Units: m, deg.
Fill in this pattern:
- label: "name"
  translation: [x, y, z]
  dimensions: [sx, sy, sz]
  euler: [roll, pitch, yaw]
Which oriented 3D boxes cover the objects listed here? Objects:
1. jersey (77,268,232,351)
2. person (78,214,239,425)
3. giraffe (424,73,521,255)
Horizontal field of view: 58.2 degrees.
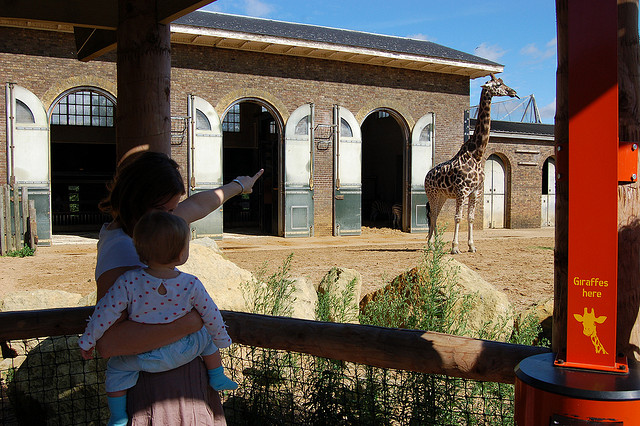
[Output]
- label: "jersey"
  translation: [-0.808, 0.485, 2.830]
  dimensions: [0.698, 0.407, 0.198]
  euler: [1, 15, -11]
- label: "person"
  translation: [-0.756, 0.502, 2.726]
  dimensions: [0.675, 1.002, 0.313]
  euler: [0, 1, -1]
- label: "giraffe"
  translation: [2.936, -0.978, 11.798]
  dimensions: [0.918, 3.583, 1.885]
  euler: [0, 1, -42]
